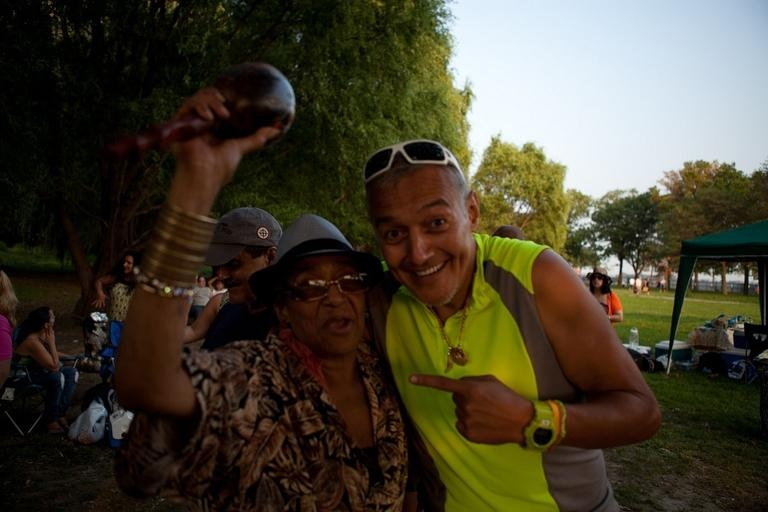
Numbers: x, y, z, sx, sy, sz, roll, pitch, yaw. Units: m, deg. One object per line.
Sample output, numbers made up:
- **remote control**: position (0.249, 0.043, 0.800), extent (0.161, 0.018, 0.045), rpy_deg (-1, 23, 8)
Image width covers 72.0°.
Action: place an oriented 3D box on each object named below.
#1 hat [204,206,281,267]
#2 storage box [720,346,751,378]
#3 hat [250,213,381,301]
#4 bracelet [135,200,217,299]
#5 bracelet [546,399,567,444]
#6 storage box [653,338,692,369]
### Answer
- **hat**: position (-1.232, -0.159, 4.712), extent (0.670, 0.426, 0.471), rpy_deg (-2, 1, -41)
- **storage box**: position (8.181, 2.495, 12.310), extent (0.583, 0.660, 0.387), rpy_deg (3, 8, -12)
- **hat**: position (-0.526, -0.059, 3.531), extent (0.600, 0.362, 0.664), rpy_deg (-11, -11, -25)
- **bracelet**: position (-1.061, -0.019, 2.688), extent (0.348, 0.436, 0.091), rpy_deg (5, -3, 5)
- **bracelet**: position (0.987, 0.993, 3.180), extent (0.132, 0.214, 0.218), rpy_deg (-3, -32, -1)
- **storage box**: position (7.199, 2.395, 13.343), extent (0.673, 0.638, 0.683), rpy_deg (-1, 1, -31)
